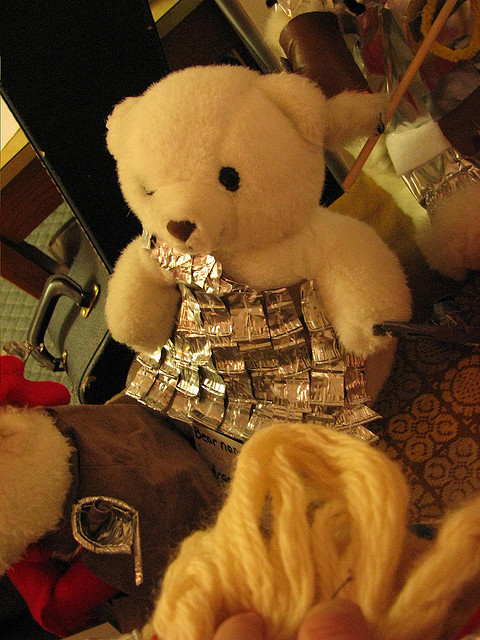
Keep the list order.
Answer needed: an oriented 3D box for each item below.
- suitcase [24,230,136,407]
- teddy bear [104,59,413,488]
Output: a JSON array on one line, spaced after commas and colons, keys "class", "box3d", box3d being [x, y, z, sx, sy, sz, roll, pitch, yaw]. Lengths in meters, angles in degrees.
[{"class": "suitcase", "box3d": [-0.316, 0.022, 1.136, 0.123, 0.389, 0.288, -6, 41, -42]}, {"class": "teddy bear", "box3d": [0.007, -0.081, 0.822, 0.426, 0.544, 0.303, -6, 22, 17]}]
